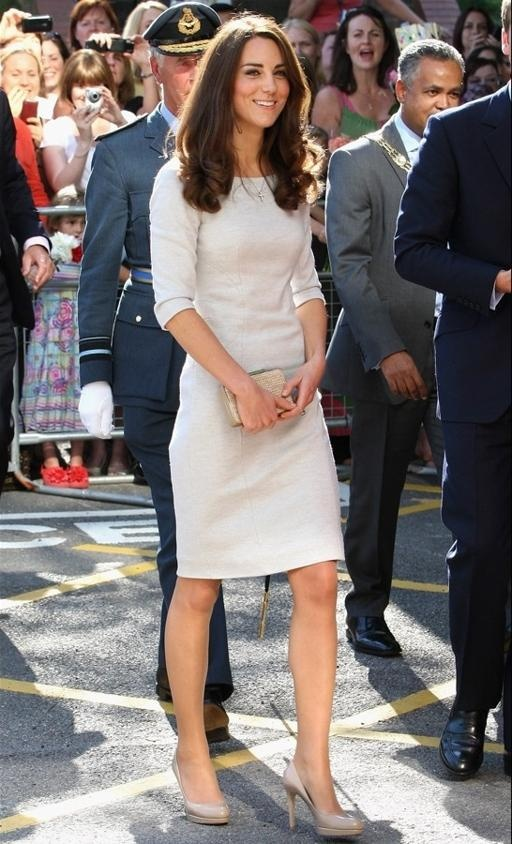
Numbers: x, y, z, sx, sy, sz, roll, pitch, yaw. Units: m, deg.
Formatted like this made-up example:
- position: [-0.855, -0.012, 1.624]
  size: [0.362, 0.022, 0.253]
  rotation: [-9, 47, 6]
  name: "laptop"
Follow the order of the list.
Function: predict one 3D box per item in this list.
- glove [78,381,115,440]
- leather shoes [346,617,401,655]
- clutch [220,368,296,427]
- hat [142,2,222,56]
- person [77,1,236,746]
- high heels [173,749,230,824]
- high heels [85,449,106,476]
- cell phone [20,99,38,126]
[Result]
- position: [-0.471, -0.026, 2.460]
  size: [0.100, 0.188, 0.186]
  rotation: [-5, 16, -10]
  name: "glove"
- position: [0.440, 0.806, 3.121]
  size: [0.087, 0.092, 0.222]
  rotation: [-1, 2, -26]
  name: "leather shoes"
- position: [0.018, -0.051, 1.705]
  size: [0.128, 0.119, 0.033]
  rotation: [-7, -22, -16]
  name: "clutch"
- position: [-0.220, -1.146, 2.423]
  size: [0.223, 0.122, 0.239]
  rotation: [-12, 26, -14]
  name: "hat"
- position: [-0.313, -0.149, 2.424]
  size: [0.606, 2.052, 0.524]
  rotation: [-3, 13, -7]
  name: "person"
- position: [-0.135, 0.799, 1.804]
  size: [0.073, 0.111, 0.189]
  rotation: [-14, 20, -38]
  name: "high heels"
- position: [-1.164, 0.276, 6.047]
  size: [0.094, 0.240, 0.066]
  rotation: [4, 5, 10]
  name: "high heels"
- position: [-1.686, -2.297, 6.123]
  size: [0.133, 0.154, 0.082]
  rotation: [-8, 18, -23]
  name: "cell phone"
